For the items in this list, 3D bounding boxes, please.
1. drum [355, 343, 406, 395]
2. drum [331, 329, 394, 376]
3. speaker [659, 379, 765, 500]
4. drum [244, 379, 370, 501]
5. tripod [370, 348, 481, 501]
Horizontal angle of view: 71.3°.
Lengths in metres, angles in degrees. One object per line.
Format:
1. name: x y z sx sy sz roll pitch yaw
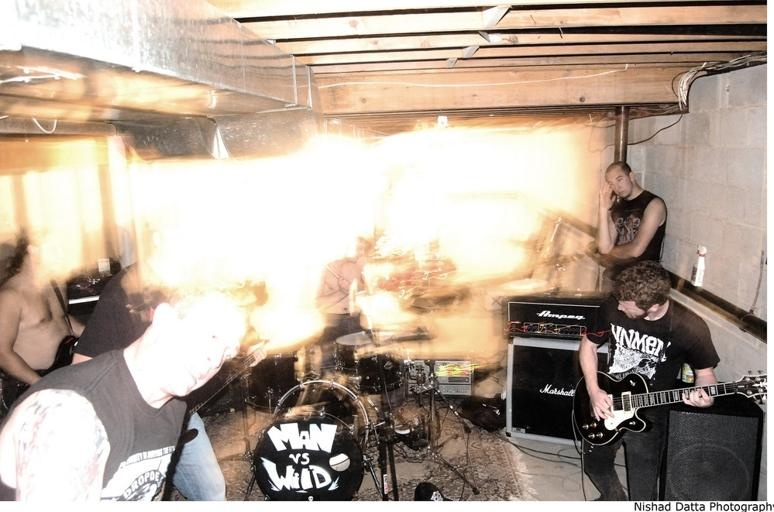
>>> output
1. drum: -0.061 1.057 5.065 0.409 0.284 0.400 -5 6 0
2. drum: -0.245 0.877 5.050 0.430 0.243 0.388 -5 5 -26
3. speaker: 2.248 1.284 3.733 0.889 0.460 0.481 -10 1 32
4. drum: -0.579 1.459 4.144 0.878 0.744 1.286 1 11 -1
5. tripod: 0.234 1.548 4.986 1.103 1.366 1.049 -5 20 10
